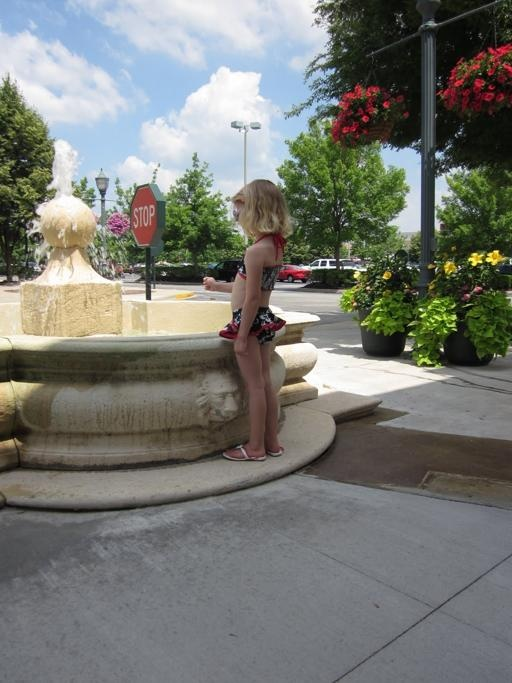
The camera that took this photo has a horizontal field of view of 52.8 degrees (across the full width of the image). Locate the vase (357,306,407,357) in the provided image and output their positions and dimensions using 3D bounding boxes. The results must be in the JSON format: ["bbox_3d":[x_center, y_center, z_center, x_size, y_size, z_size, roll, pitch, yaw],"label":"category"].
[{"bbox_3d":[1.980,-0.039,8.042,0.601,0.462,0.639,0,-1,-4],"label":"vase"}]

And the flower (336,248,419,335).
[{"bbox_3d":[1.995,-0.779,8.698,1.172,1.430,1.456,22,24,20],"label":"flower"}]

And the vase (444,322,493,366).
[{"bbox_3d":[2.902,0.055,7.103,0.592,0.431,0.616,0,-3,-2],"label":"vase"}]

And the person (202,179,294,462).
[{"bbox_3d":[-0.011,-0.107,3.054,0.424,1.643,0.734,0,4,-3],"label":"person"}]

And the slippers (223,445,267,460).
[{"bbox_3d":[-0.069,0.663,3.131,0.199,0.058,0.104,2,-8,-5],"label":"slippers"}]

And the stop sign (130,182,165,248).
[{"bbox_3d":[-1.948,-2.295,9.343,0.506,1.141,1.164,-2,4,-18],"label":"stop sign"}]

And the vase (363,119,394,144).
[{"bbox_3d":[1.921,-3.277,8.102,0.370,0.162,0.357,2,8,35],"label":"vase"}]

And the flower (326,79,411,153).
[{"bbox_3d":[1.908,-3.581,8.152,1.095,0.688,0.869,6,21,28],"label":"flower"}]
